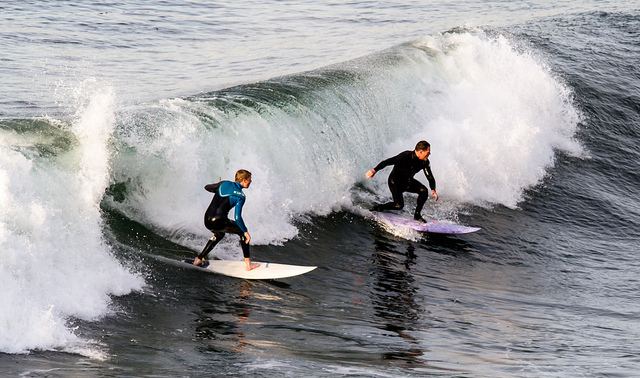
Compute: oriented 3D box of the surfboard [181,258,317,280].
[{"bbox_3d":[-1.873,1.976,20.092,3.817,0.623,0.323,1,32,-1],"label":"surfboard"}]
